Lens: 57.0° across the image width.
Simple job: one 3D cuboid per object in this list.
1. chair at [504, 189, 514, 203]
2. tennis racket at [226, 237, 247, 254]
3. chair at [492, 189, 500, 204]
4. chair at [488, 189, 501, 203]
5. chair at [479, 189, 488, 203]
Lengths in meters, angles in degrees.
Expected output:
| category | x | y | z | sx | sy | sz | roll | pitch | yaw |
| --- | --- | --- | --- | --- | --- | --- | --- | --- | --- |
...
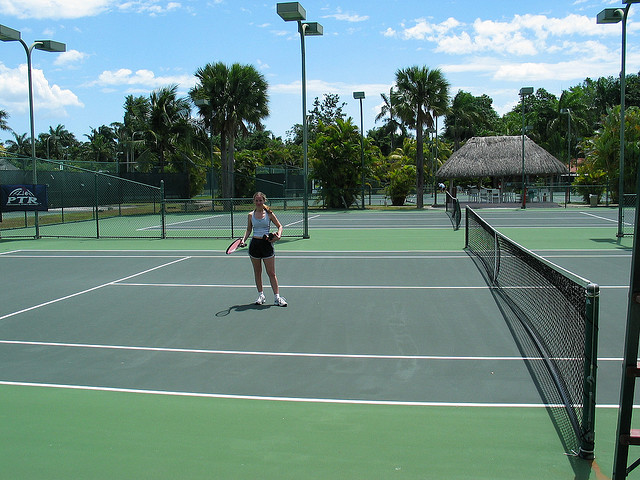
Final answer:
| category | x | y | z | sx | sy | sz | roll | pitch | yaw |
| --- | --- | --- | --- | --- | --- | --- | --- | --- | --- |
| chair | 16.669 | -4.167 | 51.927 | 0.774 | 1.180 | 0.636 | 0 | 2 | 9 |
| tennis racket | -2.083 | 0.163 | 14.724 | 0.524 | 0.291 | 0.591 | -32 | 15 | -28 |
| chair | 14.831 | -3.785 | 49.717 | 0.515 | 1.019 | 1.222 | 1 | 9 | 17 |
| chair | 14.744 | -3.747 | 49.599 | 0.831 | 1.080 | 1.414 | 5 | 11 | 36 |
| chair | 14.248 | -3.885 | 51.411 | 0.584 | 1.101 | 2.594 | 2 | 9 | 18 |
